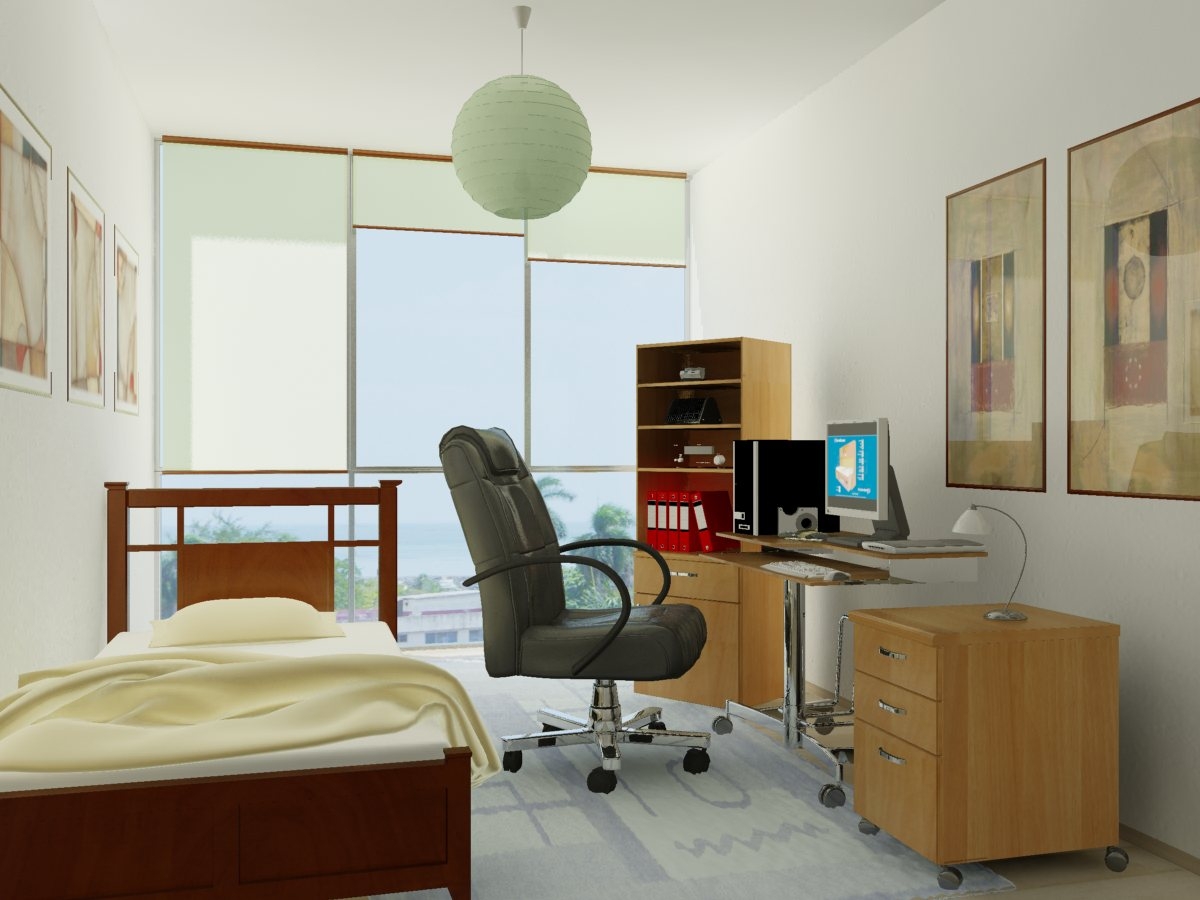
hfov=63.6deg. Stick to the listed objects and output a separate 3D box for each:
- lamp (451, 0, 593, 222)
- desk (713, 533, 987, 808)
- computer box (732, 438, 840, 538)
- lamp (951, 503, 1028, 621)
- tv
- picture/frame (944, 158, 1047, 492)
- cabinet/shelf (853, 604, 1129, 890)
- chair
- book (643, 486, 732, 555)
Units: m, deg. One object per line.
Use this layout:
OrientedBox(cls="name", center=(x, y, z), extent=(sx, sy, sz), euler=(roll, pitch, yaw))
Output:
OrientedBox(cls="lamp", center=(-0.342, -1.426, 4.227), extent=(0.582, 1.034, 0.630), euler=(-1, 0, -5))
OrientedBox(cls="desk", center=(1.048, 1.171, 4.286), extent=(0.816, 1.111, 1.555), euler=(2, -3, -10))
OrientedBox(cls="computer box", center=(0.919, 0.181, 4.869), extent=(0.455, 0.484, 0.282), euler=(0, 3, -21))
OrientedBox(cls="lamp", center=(1.534, 0.441, 3.799), extent=(0.272, 0.437, 0.892), euler=(2, 5, 24))
OrientedBox(cls="tv", center=(1.193, 0.137, 4.314), extent=(0.249, 0.575, 0.541), euler=(0, -2, -14))
OrientedBox(cls="picture/frame", center=(1.700, -0.520, 4.165), extent=(0.117, 1.383, 0.676), euler=(-2, 5, -17))
OrientedBox(cls="cabinet/shelf", center=(1.247, 1.022, 3.677), extent=(0.878, 1.108, 0.762), euler=(1, -3, -12))
OrientedBox(cls="chair", center=(-0.152, 0.663, 4.675), extent=(1.358, 1.967, 1.199), euler=(-1, -2, 12))
OrientedBox(cls="book", center=(0.464, 0.387, 5.337), extent=(0.479, 0.377, 0.291), euler=(0, -2, -9))
